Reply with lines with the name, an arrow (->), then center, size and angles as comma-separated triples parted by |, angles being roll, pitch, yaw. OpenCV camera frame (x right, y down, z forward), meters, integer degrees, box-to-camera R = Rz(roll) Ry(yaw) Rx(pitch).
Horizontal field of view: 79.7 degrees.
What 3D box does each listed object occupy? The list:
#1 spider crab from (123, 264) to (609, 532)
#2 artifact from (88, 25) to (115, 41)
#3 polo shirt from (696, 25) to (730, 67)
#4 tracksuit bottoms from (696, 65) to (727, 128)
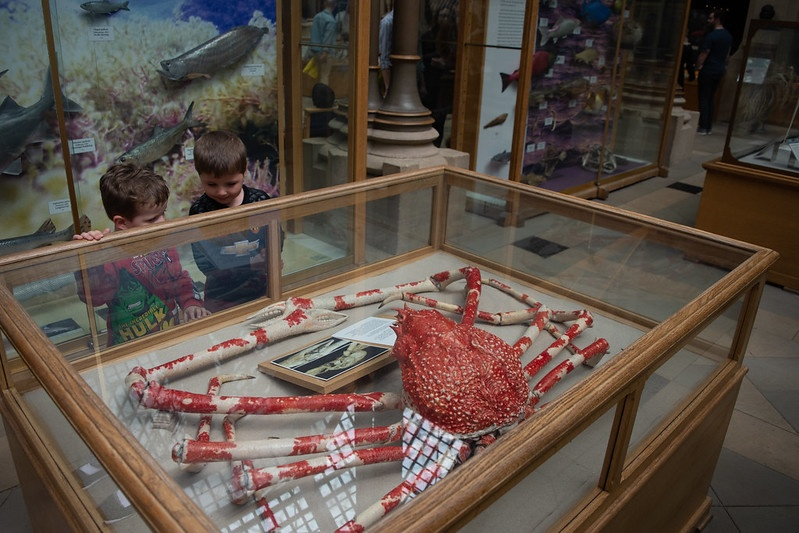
spider crab -> 0.039, 0.368, 1.367 | 0.966, 0.246, 0.699 | -27, 41, -37
artifact -> -1.623, -1.275, 2.599 | 0.014, 0.062, 0.103 | 31, 41, 28
polo shirt -> 6.288, -4.296, 9.573 | 0.768, 0.818, 0.443 | -6, 13, -29
tracksuit bottoms -> 6.415, -3.477, 10.047 | 0.490, 1.244, 0.532 | 20, 34, 29
